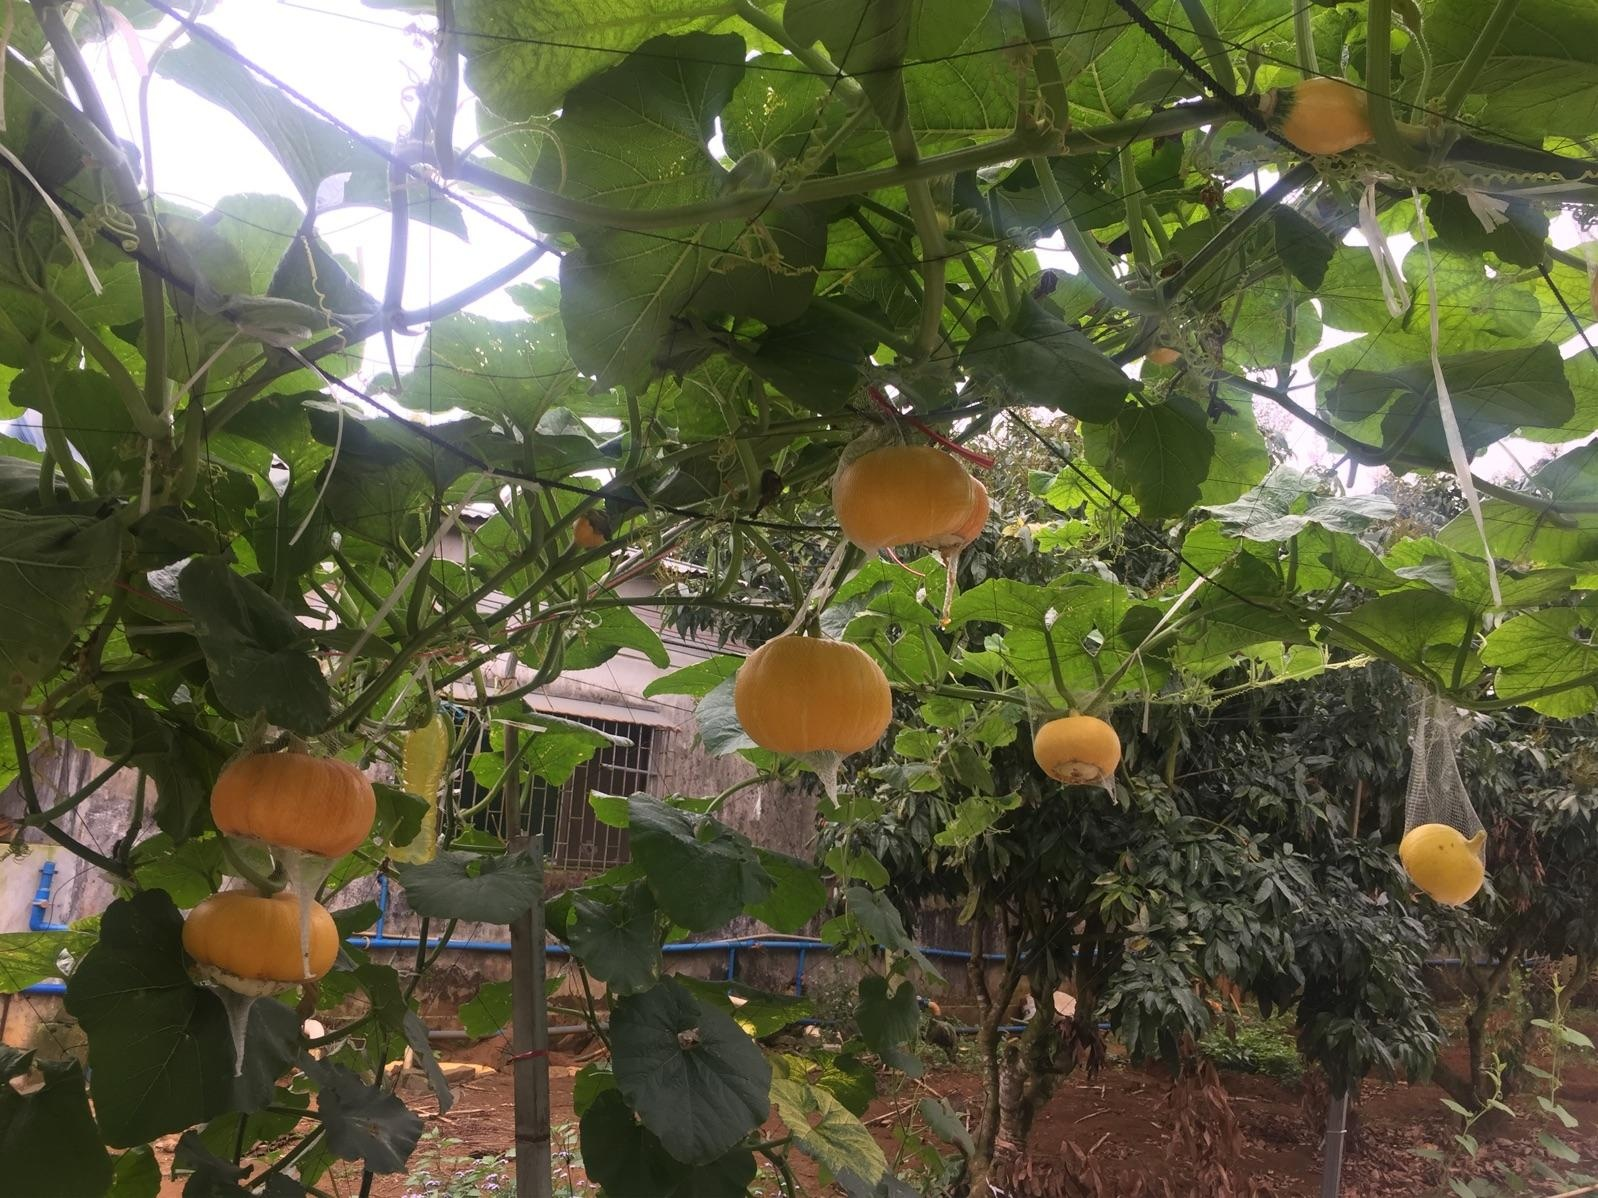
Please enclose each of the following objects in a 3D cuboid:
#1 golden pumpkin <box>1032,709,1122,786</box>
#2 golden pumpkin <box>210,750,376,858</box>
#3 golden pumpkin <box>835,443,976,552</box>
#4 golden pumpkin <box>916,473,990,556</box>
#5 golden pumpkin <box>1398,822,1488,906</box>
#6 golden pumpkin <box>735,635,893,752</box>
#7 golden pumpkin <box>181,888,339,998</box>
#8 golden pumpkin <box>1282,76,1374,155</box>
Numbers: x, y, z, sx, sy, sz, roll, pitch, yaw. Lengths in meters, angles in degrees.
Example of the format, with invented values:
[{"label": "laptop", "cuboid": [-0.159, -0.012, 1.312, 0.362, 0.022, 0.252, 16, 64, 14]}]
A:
[{"label": "golden pumpkin", "cuboid": [0.424, 0.223, 1.848, 0.111, 0.104, 0.108, 6, -11, -32]}, {"label": "golden pumpkin", "cuboid": [-0.511, 0.206, 1.262, 0.126, 0.082, 0.123, 16, -10, -25]}, {"label": "golden pumpkin", "cuboid": [0.107, -0.098, 1.280, 0.158, 0.082, 0.144, 6, -12, -29]}, {"label": "golden pumpkin", "cuboid": [0.172, -0.087, 1.292, 0.068, 0.081, 0.037, 23, -36, 50]}, {"label": "golden pumpkin", "cuboid": [0.934, 0.367, 1.769, 0.101, 0.095, 0.099, 5, -50, -43]}, {"label": "golden pumpkin", "cuboid": [0.017, 0.108, 1.389, 0.140, 0.098, 0.145, -3, -7, 16]}, {"label": "golden pumpkin", "cuboid": [-0.558, 0.357, 1.309, 0.131, 0.088, 0.132, 7, -3, -12]}, {"label": "golden pumpkin", "cuboid": [0.493, -0.474, 1.165, 0.073, 0.045, 0.086, 16, 11, 25]}]
